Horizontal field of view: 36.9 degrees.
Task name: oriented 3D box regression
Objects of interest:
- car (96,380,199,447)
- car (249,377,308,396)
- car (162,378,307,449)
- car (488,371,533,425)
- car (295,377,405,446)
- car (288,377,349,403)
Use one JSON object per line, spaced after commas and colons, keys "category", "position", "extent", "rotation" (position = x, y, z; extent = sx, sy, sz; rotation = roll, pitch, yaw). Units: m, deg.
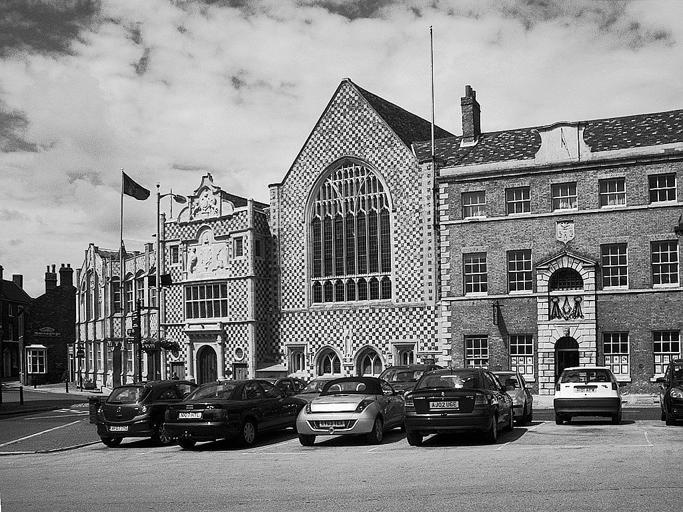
{"category": "car", "position": [-6.013, 4.897, 32.401], "extent": [1.751, 1.354, 2.974], "rotation": [-4, -3, 24]}
{"category": "car", "position": [-2.134, 4.840, 37.560], "extent": [0.858, 0.638, 2.033], "rotation": [-5, -14, 25]}
{"category": "car", "position": [-3.221, 4.705, 30.690], "extent": [1.731, 2.000, 3.623], "rotation": [-9, -13, 40]}
{"category": "car", "position": [5.750, 4.676, 34.153], "extent": [1.030, 0.964, 2.393], "rotation": [-2, 0, 15]}
{"category": "car", "position": [0.379, 4.501, 29.808], "extent": [2.049, 2.031, 2.885], "rotation": [-9, -13, 40]}
{"category": "car", "position": [-0.983, 4.655, 35.813], "extent": [0.845, 0.622, 1.910], "rotation": [-4, -10, 16]}
